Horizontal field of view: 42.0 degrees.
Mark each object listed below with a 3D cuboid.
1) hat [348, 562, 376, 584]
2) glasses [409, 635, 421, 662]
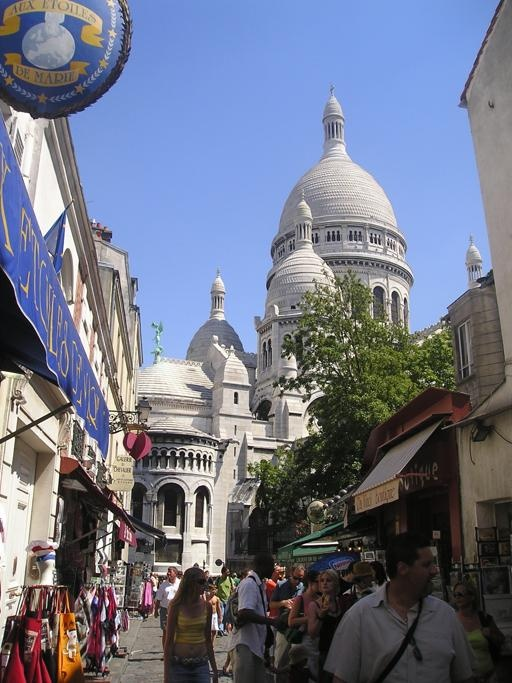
[{"bbox_3d":[1.011,2.165,6.325,0.181,0.123,0.226,-9,-29,-3],"label":"hat"},{"bbox_3d":[0.669,1.278,2.784,0.040,0.091,0.034,-21,-31,40],"label":"glasses"}]
